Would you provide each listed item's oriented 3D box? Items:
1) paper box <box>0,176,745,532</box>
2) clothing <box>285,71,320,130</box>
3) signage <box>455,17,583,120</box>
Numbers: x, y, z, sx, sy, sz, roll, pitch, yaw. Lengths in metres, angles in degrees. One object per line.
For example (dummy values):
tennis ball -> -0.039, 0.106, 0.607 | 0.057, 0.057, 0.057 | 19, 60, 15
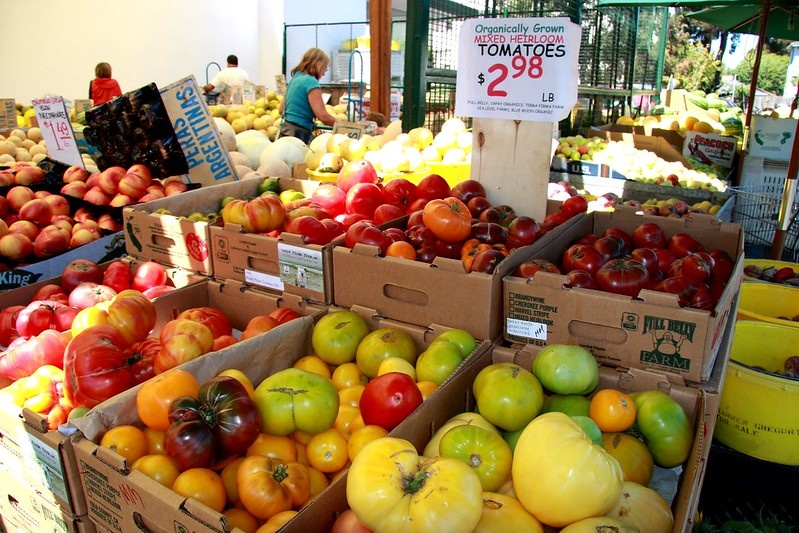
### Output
paper box -> -0.192, 0.074, 1.868 | 1.537, 0.392, 1.500 | 5, 24, 25
clothing -> -1.334, -2.157, 6.666 | 0.544, 0.985, 0.987 | 0, 29, -13
signage -> 0.680, -1.141, 2.776 | 0.570, 0.480, 0.197 | 8, 18, 24
